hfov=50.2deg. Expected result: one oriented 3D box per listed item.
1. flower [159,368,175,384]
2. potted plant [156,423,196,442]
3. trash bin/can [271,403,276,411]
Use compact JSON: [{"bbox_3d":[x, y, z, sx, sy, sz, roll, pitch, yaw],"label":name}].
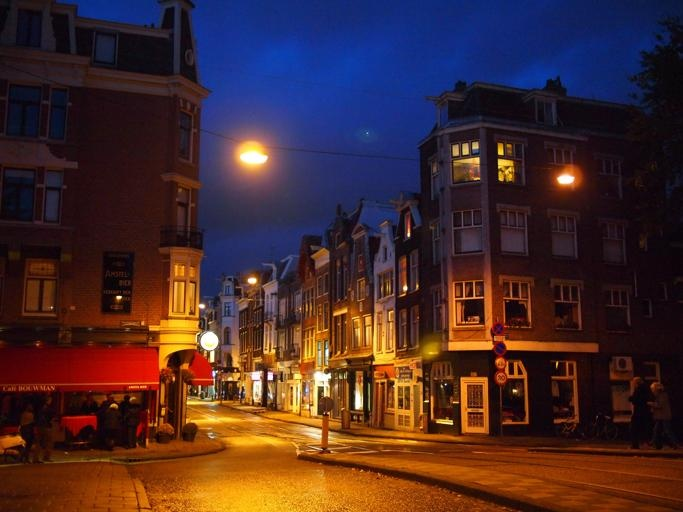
[{"bbox_3d":[-8.120,5.537,33.876,0.576,0.667,0.594,9,-12,-29],"label":"flower"},{"bbox_3d":[-7.461,7.901,32.837,1.398,0.709,0.930,7,-20,-13],"label":"potted plant"},{"bbox_3d":[-6.600,14.436,70.787,0.537,0.941,0.566,5,-12,-24],"label":"trash bin/can"}]
